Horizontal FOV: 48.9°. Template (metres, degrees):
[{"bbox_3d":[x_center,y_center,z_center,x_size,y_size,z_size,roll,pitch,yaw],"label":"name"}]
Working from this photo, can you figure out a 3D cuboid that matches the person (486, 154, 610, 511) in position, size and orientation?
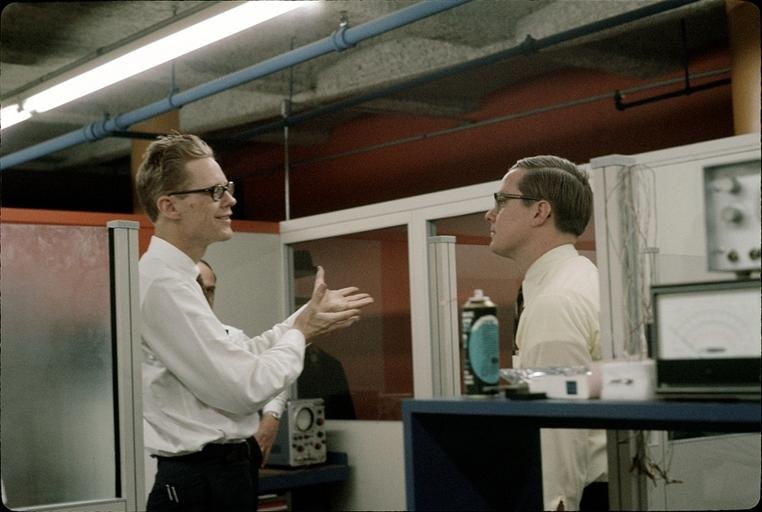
[{"bbox_3d":[0.643,0.322,3.262,0.423,1.471,0.850,-3,-5,13],"label":"person"}]

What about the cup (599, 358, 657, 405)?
[{"bbox_3d":[0.760,0.383,2.575,0.132,0.101,0.137,-1,-3,0],"label":"cup"}]
